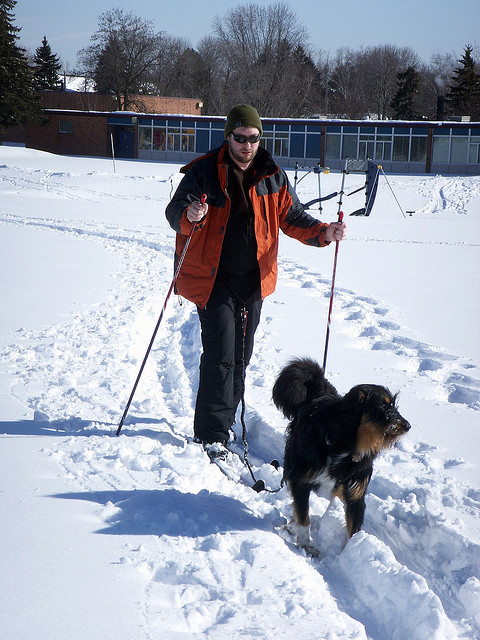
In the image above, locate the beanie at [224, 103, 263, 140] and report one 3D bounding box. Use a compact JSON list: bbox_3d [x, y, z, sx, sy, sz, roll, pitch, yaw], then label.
[{"bbox_3d":[0.034,-1.044,3.318,0.167,0.161,0.187,1,3,-6],"label":"beanie"}]
